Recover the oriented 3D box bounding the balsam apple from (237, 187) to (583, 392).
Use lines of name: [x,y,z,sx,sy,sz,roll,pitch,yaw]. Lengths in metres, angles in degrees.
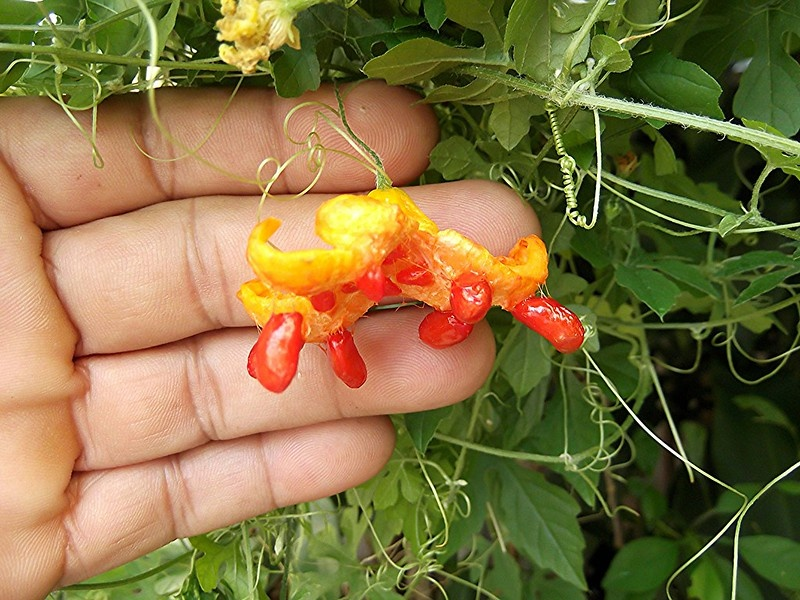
balsam apple: [0.032,0.013,1.272,0.563,0.221,0.353,-13,54,-31]
